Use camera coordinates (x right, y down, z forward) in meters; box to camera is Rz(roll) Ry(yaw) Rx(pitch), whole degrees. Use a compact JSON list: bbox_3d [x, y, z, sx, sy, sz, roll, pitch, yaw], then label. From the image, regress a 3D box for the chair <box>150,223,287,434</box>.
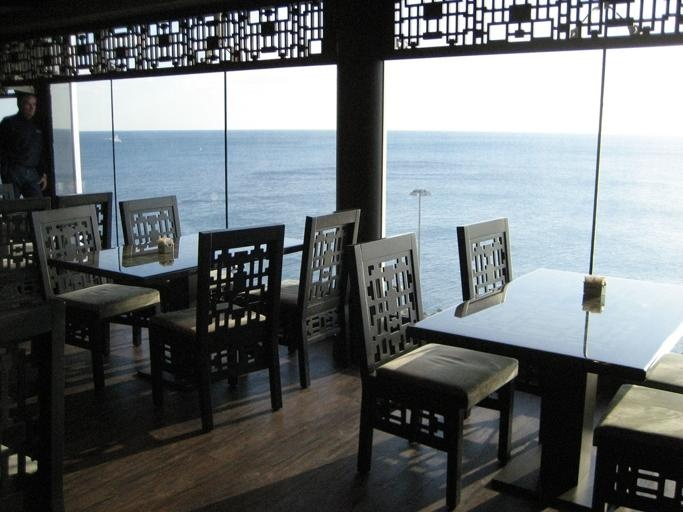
[{"bbox_3d":[-0.722,0.358,3.205,0.615,1.013,0.596,4,6,37],"label":"chair"}]
